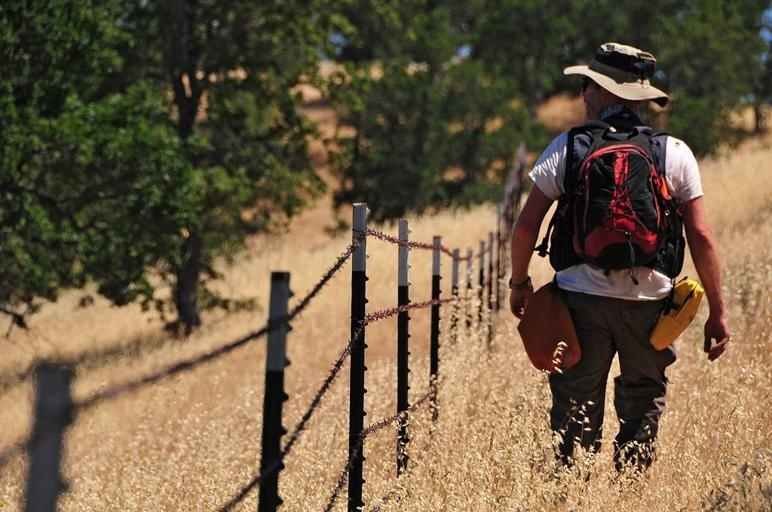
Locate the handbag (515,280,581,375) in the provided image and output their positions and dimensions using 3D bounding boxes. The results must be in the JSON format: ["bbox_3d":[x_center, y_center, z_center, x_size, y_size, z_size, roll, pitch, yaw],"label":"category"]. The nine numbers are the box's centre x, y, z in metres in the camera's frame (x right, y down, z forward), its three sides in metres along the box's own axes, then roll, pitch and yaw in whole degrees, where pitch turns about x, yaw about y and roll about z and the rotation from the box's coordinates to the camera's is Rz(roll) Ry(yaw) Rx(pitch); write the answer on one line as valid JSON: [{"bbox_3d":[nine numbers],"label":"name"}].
[{"bbox_3d":[3.129,1.423,36.526,1.364,1.945,0.954,-2,-1,29],"label":"handbag"}]

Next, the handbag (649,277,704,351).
[{"bbox_3d":[5.591,1.085,36.533,0.756,1.560,0.873,-2,0,-10],"label":"handbag"}]
